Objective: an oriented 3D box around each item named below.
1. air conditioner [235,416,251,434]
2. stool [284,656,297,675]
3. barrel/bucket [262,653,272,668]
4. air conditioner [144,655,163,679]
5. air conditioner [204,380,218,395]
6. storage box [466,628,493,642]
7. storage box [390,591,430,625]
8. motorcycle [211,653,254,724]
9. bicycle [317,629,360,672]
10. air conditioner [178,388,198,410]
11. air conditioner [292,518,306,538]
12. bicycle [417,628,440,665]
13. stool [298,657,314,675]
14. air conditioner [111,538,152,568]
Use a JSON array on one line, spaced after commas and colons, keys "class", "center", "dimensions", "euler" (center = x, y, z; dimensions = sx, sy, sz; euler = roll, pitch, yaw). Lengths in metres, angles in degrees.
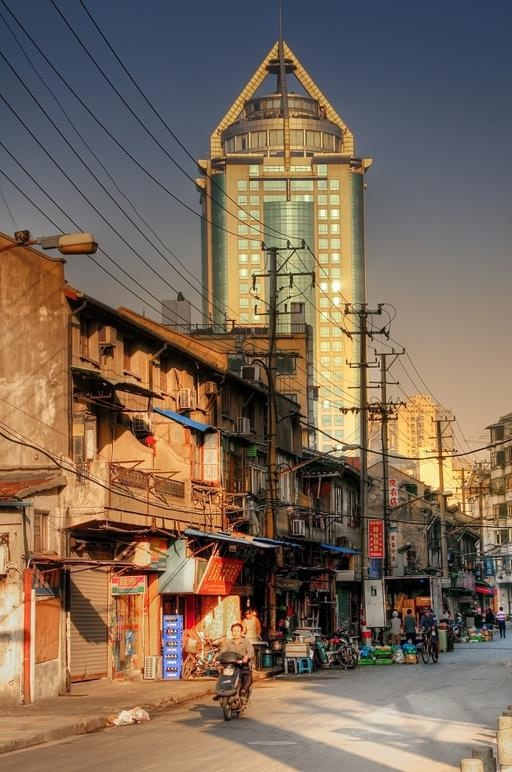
[{"class": "air conditioner", "center": [-0.495, 1.348, 41.002], "dimensions": [0.196, 0.495, 0.568], "euler": [-3, -6, 15]}, {"class": "stool", "center": [0.896, 7.526, 32.585], "dimensions": [0.396, 0.525, 0.402], "euler": [-1, -15, -4]}, {"class": "barrel/bucket", "center": [0.287, 7.557, 33.505], "dimensions": [0.274, 0.411, 0.543], "euler": [-2, -13, 0]}, {"class": "air conditioner", "center": [-2.404, 6.551, 28.122], "dimensions": [0.422, 0.516, 0.568], "euler": [0, -13, -6]}, {"class": "air conditioner", "center": [-1.480, 0.097, 39.642], "dimensions": [0.357, 0.474, 0.670], "euler": [-1, -9, 10]}, {"class": "storage box", "center": [11.065, 12.591, 60.924], "dimensions": [0.761, 0.356, 1.057], "euler": [0, -5, -5]}, {"class": "storage box", "center": [6.326, 9.612, 50.252], "dimensions": [1.542, 2.073, 2.101], "euler": [-1, -8, 8]}, {"class": "motorcycle", "center": [-0.381, 4.680, 18.930], "dimensions": [0.471, 1.038, 0.964], "euler": [-3, -13, 7]}, {"class": "bicycle", "center": [2.342, 7.760, 35.322], "dimensions": [1.406, 0.886, 0.738], "euler": [-2, -8, 17]}, {"class": "air conditioner", "center": [-2.099, 0.523, 36.597], "dimensions": [0.515, 0.828, 0.990], "euler": [-2, -7, 10]}, {"class": "air conditioner", "center": [1.588, 5.536, 47.127], "dimensions": [0.514, 0.843, 0.210], "euler": [1, -10, -24]}, {"class": "bicycle", "center": [5.247, 8.329, 38.797], "dimensions": [0.826, 1.128, 1.835], "euler": [-3, -12, 13]}, {"class": "stool", "center": [1.274, 7.481, 32.411], "dimensions": [0.336, 0.413, 0.494], "euler": [-2, -13, 2]}, {"class": "air conditioner", "center": [-2.822, 3.938, 28.299], "dimensions": [0.929, 0.659, 0.876], "euler": [3, -14, -19]}]
